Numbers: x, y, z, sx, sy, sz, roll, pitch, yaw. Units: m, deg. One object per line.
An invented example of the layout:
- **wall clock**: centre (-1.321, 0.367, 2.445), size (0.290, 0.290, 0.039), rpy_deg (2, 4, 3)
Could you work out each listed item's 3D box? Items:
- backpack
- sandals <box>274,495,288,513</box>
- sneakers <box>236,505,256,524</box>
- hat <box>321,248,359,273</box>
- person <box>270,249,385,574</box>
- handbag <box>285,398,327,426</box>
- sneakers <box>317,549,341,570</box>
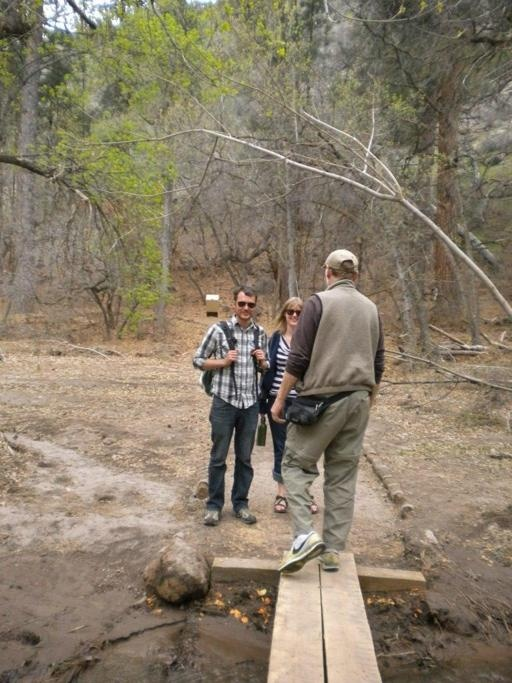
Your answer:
- **backpack**: centre (-0.207, 0.138, 4.586), size (0.455, 0.594, 0.253), rpy_deg (4, 2, -2)
- **sandals**: centre (0.230, 1.466, 5.115), size (0.135, 0.126, 0.369), rpy_deg (-1, -6, 4)
- **sneakers**: centre (-0.086, 1.472, 4.741), size (0.099, 0.080, 0.191), rpy_deg (3, -7, -30)
- **hat**: centre (0.527, -0.515, 3.596), size (0.147, 0.104, 0.196), rpy_deg (1, 1, -13)
- **person**: centre (0.363, 0.366, 3.361), size (0.587, 1.404, 0.722), rpy_deg (5, 2, 21)
- **handbag**: centre (0.284, 0.446, 3.333), size (0.160, 0.198, 0.090), rpy_deg (15, 48, 20)
- **sneakers**: centre (0.412, 1.245, 3.201), size (0.133, 0.122, 0.283), rpy_deg (-1, -16, 6)
